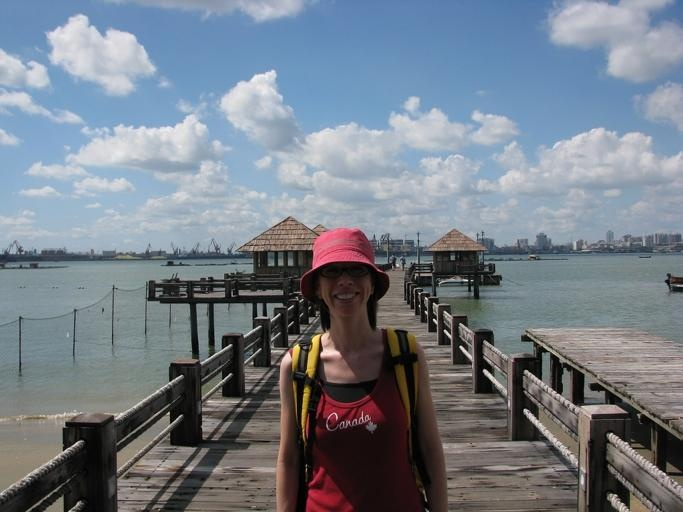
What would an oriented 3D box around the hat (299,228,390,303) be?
[{"bbox_3d":[0.044,0.075,5.017,0.673,0.376,0.574,0,-2,-33],"label":"hat"}]
